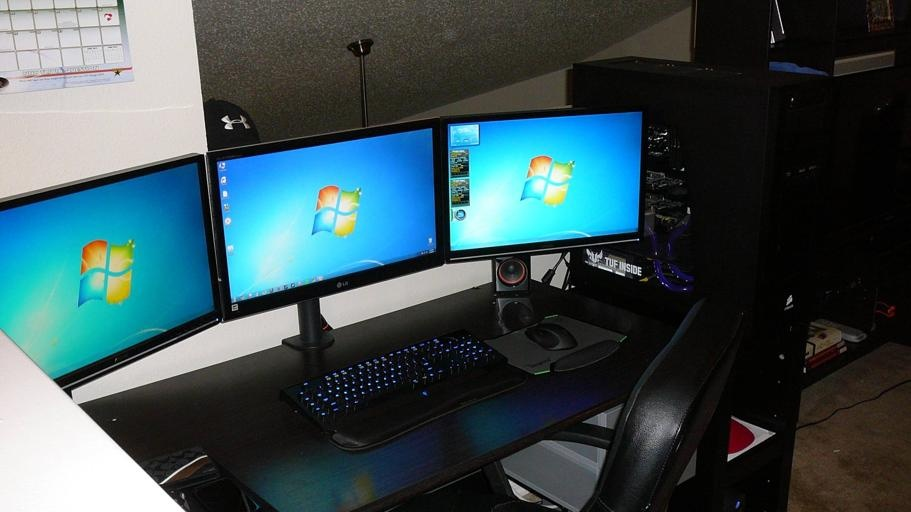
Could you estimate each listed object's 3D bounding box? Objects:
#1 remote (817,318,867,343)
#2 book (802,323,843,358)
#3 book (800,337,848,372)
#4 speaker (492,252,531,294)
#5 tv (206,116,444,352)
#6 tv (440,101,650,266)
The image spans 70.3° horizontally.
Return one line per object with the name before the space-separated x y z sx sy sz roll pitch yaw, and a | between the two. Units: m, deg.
remote | 1.828 0.352 3.093 0.125 0.025 0.210 -13 20 -37
book | 1.625 0.379 2.880 0.193 0.041 0.182 -18 33 -30
book | 1.681 0.440 2.951 0.225 0.048 0.214 -14 21 -12
speaker | 0.204 0.064 2.394 0.150 0.179 0.144 0 0 -4
tv | -0.424 -0.049 2.124 0.795 0.610 0.271 -15 22 -37
tv | 0.315 -0.260 2.298 0.688 0.400 0.053 -6 17 -14
